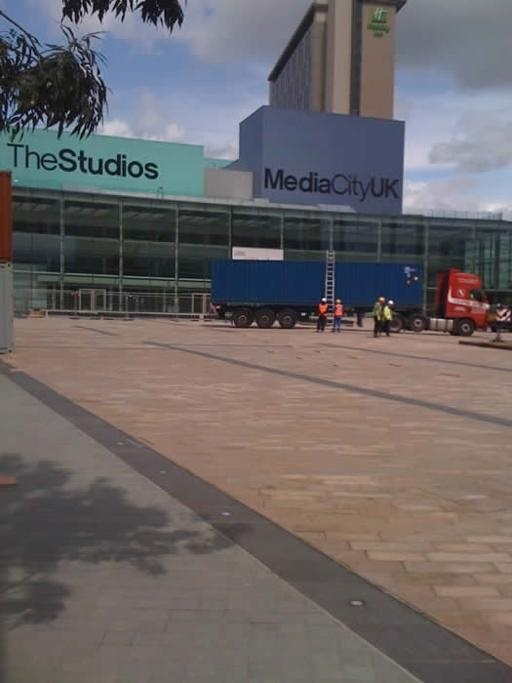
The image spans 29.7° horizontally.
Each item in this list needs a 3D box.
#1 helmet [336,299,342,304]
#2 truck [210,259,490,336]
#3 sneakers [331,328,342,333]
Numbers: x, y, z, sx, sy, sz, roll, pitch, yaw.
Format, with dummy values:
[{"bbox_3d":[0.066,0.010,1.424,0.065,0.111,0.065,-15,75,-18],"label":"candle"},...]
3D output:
[{"bbox_3d":[2.906,-1.412,33.896,0.204,0.230,0.279,-3,2,1],"label":"helmet"},{"bbox_3d":[3.315,-1.651,35.817,9.494,2.573,3.616,3,5,19],"label":"truck"},{"bbox_3d":[2.855,-0.347,34.262,0.251,0.203,0.148,5,21,1],"label":"sneakers"}]
